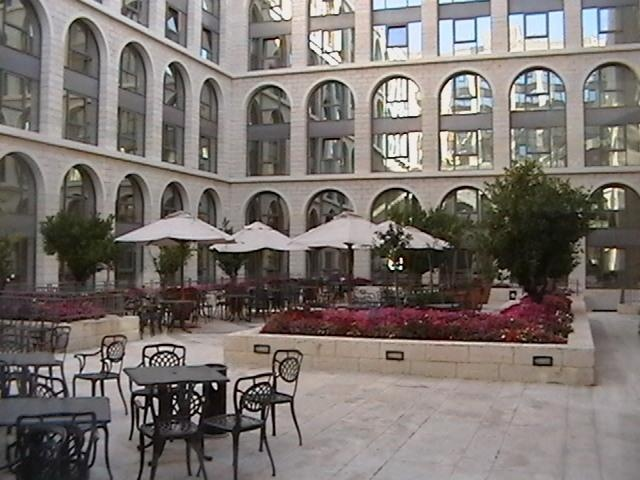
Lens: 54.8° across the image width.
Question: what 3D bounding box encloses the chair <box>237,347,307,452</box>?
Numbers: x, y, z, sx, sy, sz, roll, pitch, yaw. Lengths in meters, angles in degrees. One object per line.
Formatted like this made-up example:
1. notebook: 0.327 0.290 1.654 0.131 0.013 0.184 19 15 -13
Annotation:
1. chair: -0.848 2.457 10.399 1.011 2.010 1.257 -4 -8 31

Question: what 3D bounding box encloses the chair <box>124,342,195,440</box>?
1. chair: -2.678 2.454 10.118 0.833 1.352 0.938 1 2 24
